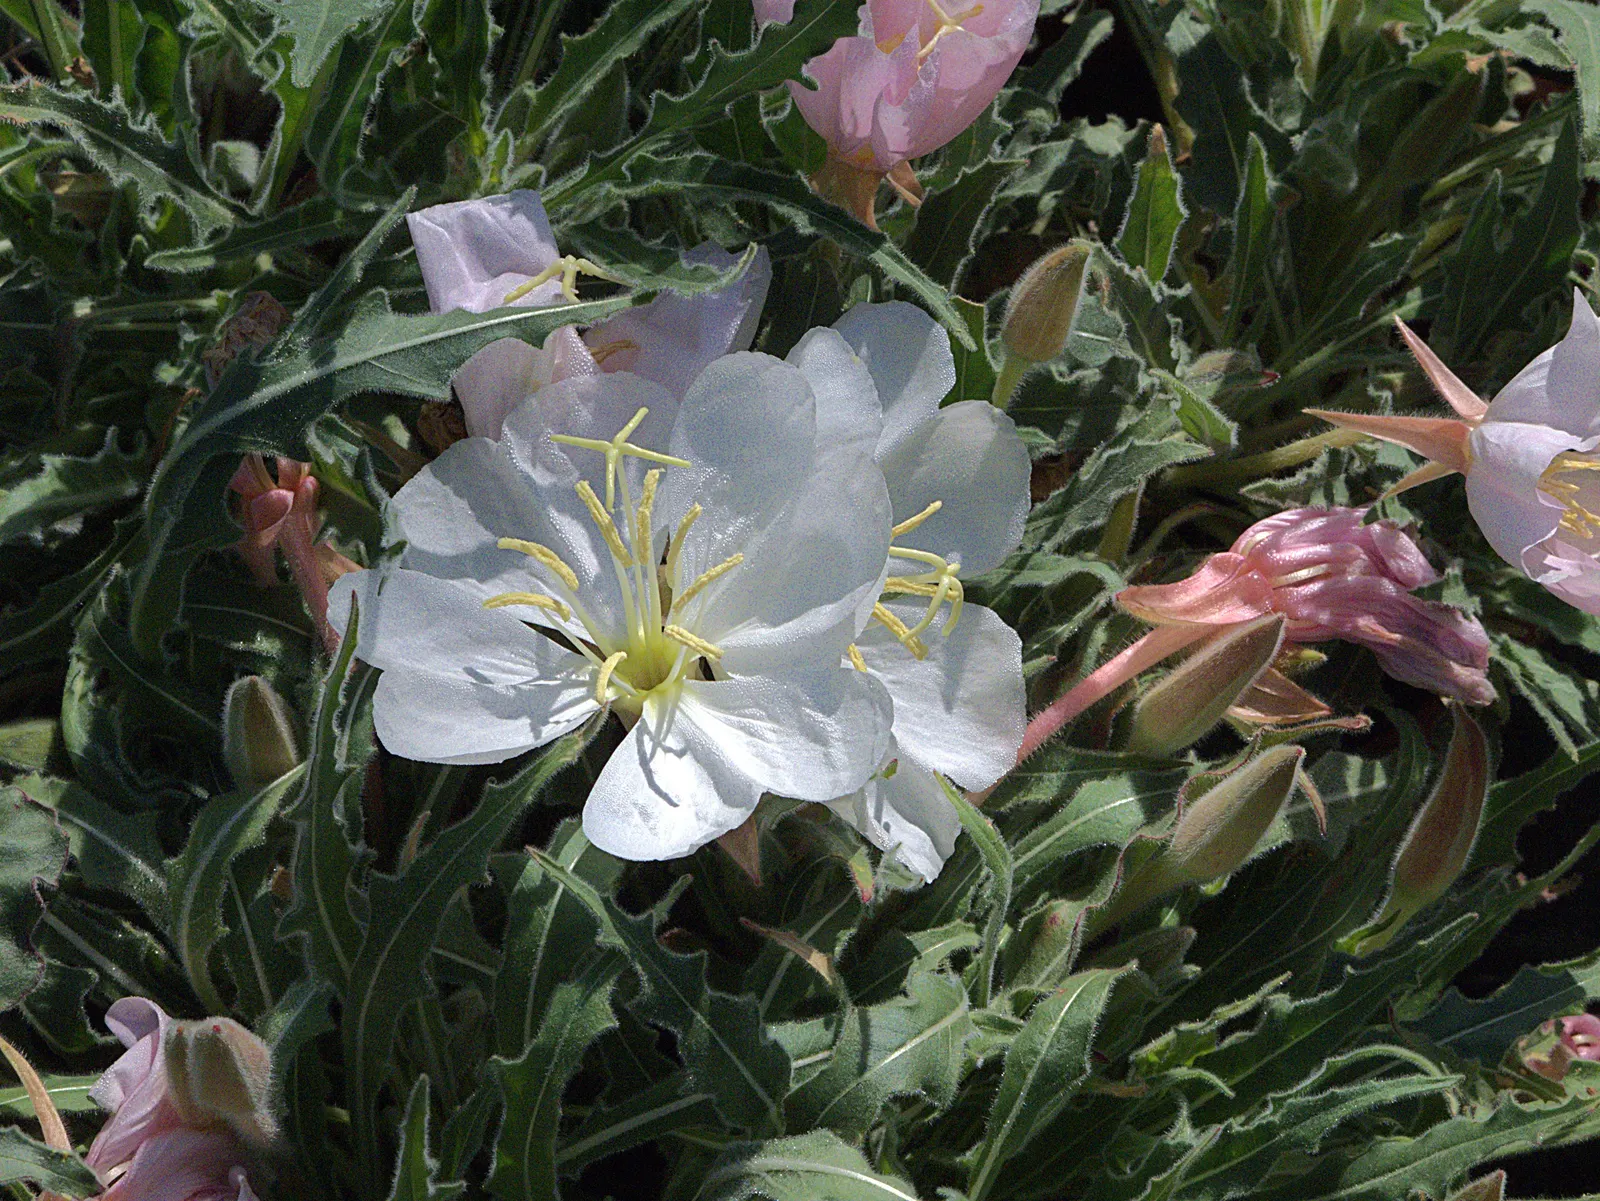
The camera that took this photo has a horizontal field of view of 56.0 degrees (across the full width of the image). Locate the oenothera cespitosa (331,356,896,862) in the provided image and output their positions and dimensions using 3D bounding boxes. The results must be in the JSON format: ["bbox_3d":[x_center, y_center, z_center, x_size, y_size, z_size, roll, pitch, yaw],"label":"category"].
[{"bbox_3d":[-0.062,-0.004,0.626,0.198,0.096,0.217,38,81,6],"label":"oenothera cespitosa"}]

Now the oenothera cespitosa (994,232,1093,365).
[{"bbox_3d":[0.122,-0.145,0.711,0.031,0.082,0.040,25,70,1],"label":"oenothera cespitosa"}]
